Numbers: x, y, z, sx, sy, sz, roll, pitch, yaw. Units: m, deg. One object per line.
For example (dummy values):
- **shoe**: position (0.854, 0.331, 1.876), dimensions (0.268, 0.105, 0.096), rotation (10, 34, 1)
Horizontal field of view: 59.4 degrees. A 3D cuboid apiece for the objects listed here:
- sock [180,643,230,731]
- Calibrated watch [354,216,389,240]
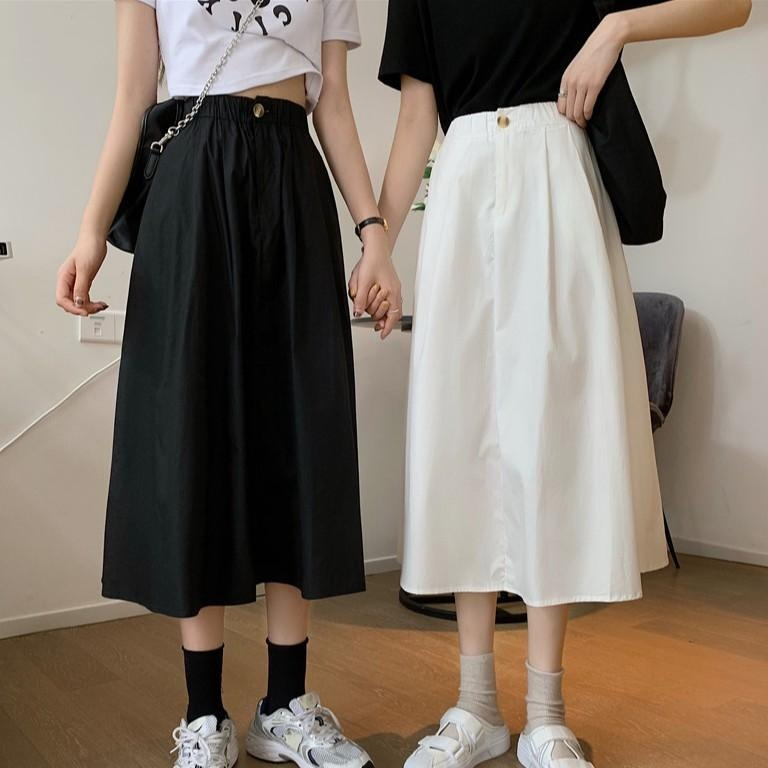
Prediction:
- **sock**: position (-0.293, 0.493, 1.101), dimensions (0.049, 0.175, 0.114), rotation (0, 4, 2)
- **Calibrated watch**: position (-0.028, -0.284, 1.225), dimensions (0.038, 0.020, 0.045), rotation (-21, -4, -8)
